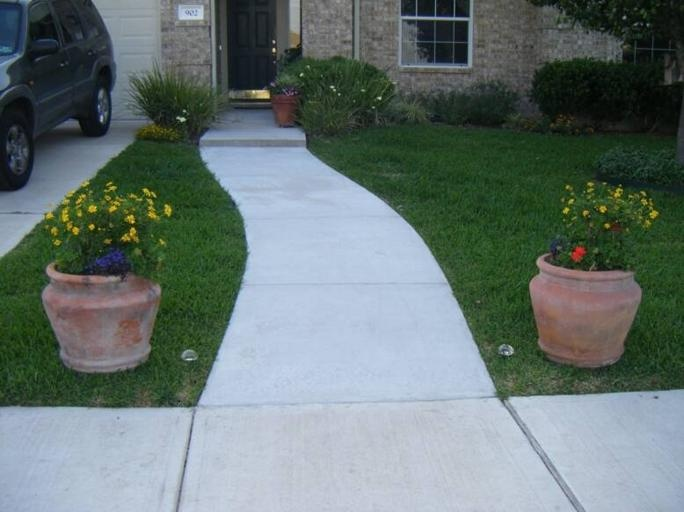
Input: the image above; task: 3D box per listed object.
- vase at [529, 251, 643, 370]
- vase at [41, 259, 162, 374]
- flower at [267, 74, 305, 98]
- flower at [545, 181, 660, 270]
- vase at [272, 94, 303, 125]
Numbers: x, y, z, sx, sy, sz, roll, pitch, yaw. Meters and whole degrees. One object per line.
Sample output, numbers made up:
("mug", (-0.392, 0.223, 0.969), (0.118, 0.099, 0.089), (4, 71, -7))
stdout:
("vase", (1.698, 0.325, 3.986), (0.690, 0.701, 0.749), (-13, 21, -9))
("vase", (-1.492, 0.380, 3.741), (0.618, 0.639, 0.688), (2, 10, -1))
("flower", (-1.116, -3.388, 11.474), (0.666, 0.362, 0.828), (0, 23, -6))
("flower", (1.717, -0.206, 4.032), (0.526, 0.588, 0.725), (8, 6, 14))
("vase", (-1.031, -2.895, 11.420), (0.503, 0.571, 0.500), (-4, 12, -14))
